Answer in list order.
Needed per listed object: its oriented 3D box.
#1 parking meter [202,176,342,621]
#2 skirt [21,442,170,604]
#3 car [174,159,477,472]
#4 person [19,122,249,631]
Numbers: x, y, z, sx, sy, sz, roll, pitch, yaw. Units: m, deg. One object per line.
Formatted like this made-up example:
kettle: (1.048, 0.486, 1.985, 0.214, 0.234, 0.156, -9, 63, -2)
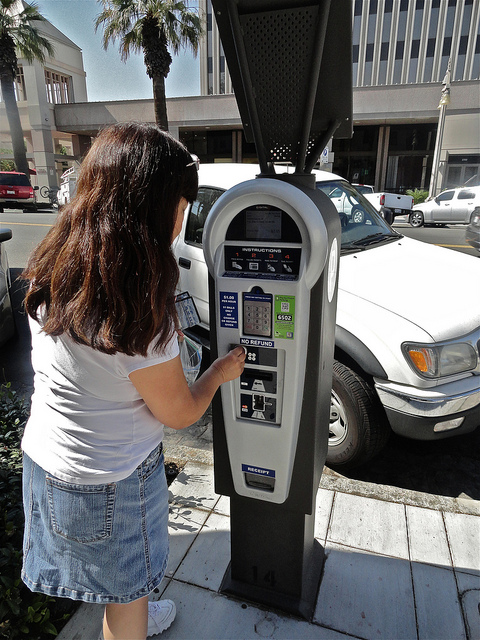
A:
parking meter: (0.112, 0.326, 1.545, 0.416, 1.608, 0.472, 3, 11, 17)
skirt: (-0.354, 0.485, 1.048, 0.240, 0.446, 0.237, 7, 27, 12)
car: (0.622, -0.538, 3.438, 1.399, 1.800, 2.798, -13, 26, -35)
person: (-0.332, 0.185, 1.062, 0.516, 1.287, 0.359, 1, 11, 7)
